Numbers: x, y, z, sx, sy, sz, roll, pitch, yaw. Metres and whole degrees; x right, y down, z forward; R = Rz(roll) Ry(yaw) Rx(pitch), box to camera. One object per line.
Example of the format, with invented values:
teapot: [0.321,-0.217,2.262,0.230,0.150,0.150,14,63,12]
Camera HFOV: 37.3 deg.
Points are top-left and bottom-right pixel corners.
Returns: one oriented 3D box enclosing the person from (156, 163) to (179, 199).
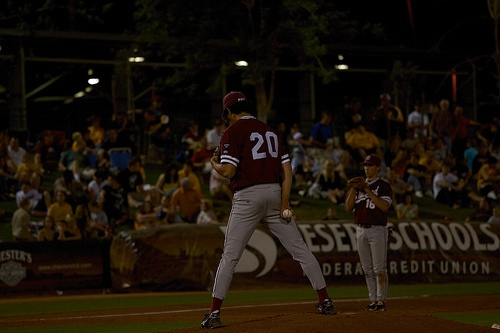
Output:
person: [-2.395,0.590,22.073,0.617,1.571,0.454,2,24,-15]

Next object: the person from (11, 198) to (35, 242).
person: [-6.160,1.419,20.016,0.572,1.100,0.296,1,-3,-19]

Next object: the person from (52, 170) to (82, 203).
person: [-5.113,0.583,20.981,0.792,0.521,1.370,-8,-24,-12]

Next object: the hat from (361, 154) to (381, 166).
hat: [2.759,-0.139,16.749,0.324,0.202,0.235,14,-7,-18]

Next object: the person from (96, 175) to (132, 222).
person: [-3.849,1.124,21.233,0.787,2.178,0.654,-12,36,-20]

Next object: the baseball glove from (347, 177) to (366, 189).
baseball glove: [2.375,0.345,16.430,0.366,0.274,0.416,0,-4,6]

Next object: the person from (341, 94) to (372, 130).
person: [3.440,-1.746,23.795,0.894,1.068,0.336,-1,4,-3]

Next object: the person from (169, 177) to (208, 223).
person: [-1.856,1.001,21.768,0.959,1.953,0.618,-3,-4,-1]

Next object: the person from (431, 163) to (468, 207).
person: [6.421,0.573,23.673,0.861,1.449,1.298,-10,13,-24]

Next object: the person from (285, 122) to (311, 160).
person: [1.482,-0.753,23.299,0.700,0.567,1.203,2,31,-40]

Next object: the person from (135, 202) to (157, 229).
person: [-2.955,1.385,20.889,0.344,0.989,0.290,15,-39,-16]

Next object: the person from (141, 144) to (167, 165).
person: [-2.899,-0.369,22.123,0.785,0.661,0.368,2,-4,-24]

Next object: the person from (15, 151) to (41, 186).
person: [-6.214,0.083,20.618,0.542,1.246,0.383,-8,-23,-27]

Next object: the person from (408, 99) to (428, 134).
person: [5.482,-1.505,24.216,0.709,1.165,0.254,0,-3,3]

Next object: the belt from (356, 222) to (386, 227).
belt: [2.695,1.302,16.441,0.622,0.076,0.168,-1,-5,7]

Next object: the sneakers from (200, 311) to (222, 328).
sneakers: [-0.786,3.037,14.836,0.394,0.332,0.164,0,-3,-3]

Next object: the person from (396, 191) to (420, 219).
person: [4.871,1.247,22.976,0.596,0.767,1.271,-3,20,17]

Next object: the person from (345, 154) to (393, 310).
person: [2.657,1.411,16.495,0.939,3.408,0.677,0,-3,10]

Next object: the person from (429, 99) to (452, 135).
person: [6.356,-1.628,24.270,0.760,1.495,0.403,-1,36,14]

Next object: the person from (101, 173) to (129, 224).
person: [-3.835,1.137,21.180,0.726,1.971,0.485,-16,30,-27]

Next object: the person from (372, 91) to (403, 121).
person: [4.447,-1.945,24.261,0.605,0.955,0.415,-17,-7,29]

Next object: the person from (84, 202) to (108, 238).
person: [-4.278,1.298,20.698,0.578,1.173,0.502,-3,38,-17]

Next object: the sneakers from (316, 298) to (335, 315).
sneakers: [1.534,2.835,15.133,0.166,0.234,0.447,-4,4,-20]

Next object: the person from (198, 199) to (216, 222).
person: [-1.229,1.346,21.716,0.499,0.933,0.689,1,-3,-19]

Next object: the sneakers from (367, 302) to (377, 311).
sneakers: [2.645,3.011,16.189,0.227,0.151,0.300,-3,-5,35]
